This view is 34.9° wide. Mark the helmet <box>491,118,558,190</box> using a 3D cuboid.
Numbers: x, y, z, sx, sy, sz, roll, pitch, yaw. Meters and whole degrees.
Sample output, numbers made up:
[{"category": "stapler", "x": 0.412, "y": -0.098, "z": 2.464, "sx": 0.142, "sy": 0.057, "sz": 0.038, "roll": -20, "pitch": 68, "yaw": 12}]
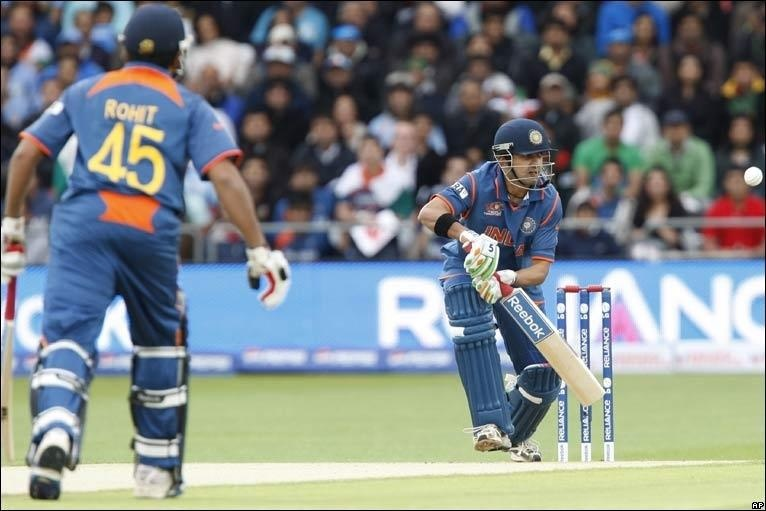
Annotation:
[{"category": "helmet", "x": 1.060, "y": -0.751, "z": 9.210, "sx": 0.469, "sy": 0.494, "sz": 0.542, "roll": -10, "pitch": 12, "yaw": -44}]

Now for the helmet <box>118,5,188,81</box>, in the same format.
[{"category": "helmet", "x": -1.518, "y": -1.451, "z": 8.477, "sx": 0.434, "sy": 0.469, "sz": 0.480, "roll": 9, "pitch": -39, "yaw": -3}]

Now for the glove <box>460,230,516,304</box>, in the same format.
[{"category": "glove", "x": 0.703, "y": 0.104, "z": 8.943, "sx": 0.436, "sy": 0.499, "sz": 0.245, "roll": 7, "pitch": 11, "yaw": -23}]

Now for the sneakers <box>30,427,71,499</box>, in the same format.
[{"category": "sneakers", "x": -2.148, "y": 1.340, "z": 8.041, "sx": 0.199, "sy": 0.516, "sz": 0.235, "roll": 13, "pitch": 5, "yaw": -9}]

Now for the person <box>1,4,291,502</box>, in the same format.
[{"category": "person", "x": -1.695, "y": -0.033, "z": 8.313, "sx": 1.651, "sy": 3.348, "sz": 0.636, "roll": -1, "pitch": -4, "yaw": -16}]

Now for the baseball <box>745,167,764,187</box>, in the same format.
[{"category": "baseball", "x": 2.567, "y": -0.520, "z": 8.500, "sx": 0.175, "sy": 0.156, "sz": 0.098, "roll": -3, "pitch": 7, "yaw": 17}]
